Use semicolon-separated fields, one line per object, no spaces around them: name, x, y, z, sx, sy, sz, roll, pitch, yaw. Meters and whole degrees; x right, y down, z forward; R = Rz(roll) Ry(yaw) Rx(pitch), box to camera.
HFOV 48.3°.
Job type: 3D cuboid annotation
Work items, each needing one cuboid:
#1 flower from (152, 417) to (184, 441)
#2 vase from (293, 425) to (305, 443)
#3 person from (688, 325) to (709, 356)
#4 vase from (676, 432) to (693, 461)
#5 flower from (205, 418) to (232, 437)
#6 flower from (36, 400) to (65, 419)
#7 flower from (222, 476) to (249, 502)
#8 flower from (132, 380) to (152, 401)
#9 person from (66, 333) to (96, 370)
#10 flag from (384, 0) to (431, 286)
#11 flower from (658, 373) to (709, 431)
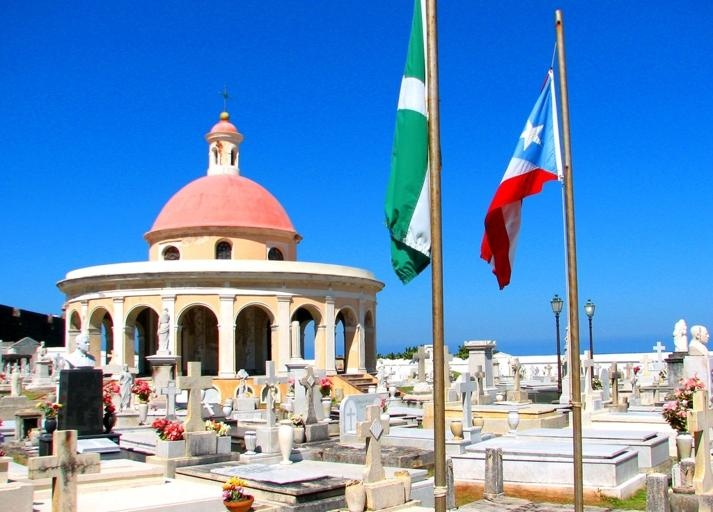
flower;-4.411;4.093;18.689;0.518;0.544;0.313;14;-51;-15
vase;-1.546;4.864;21.911;0.385;0.441;0.255;2;-10;-25
person;10.347;2.558;24.067;0.530;0.885;0.549;-5;-9;19
vase;7.534;4.344;18.220;0.313;0.539;1.168;-5;-9;19
flower;-3.417;4.199;19.483;0.416;0.355;0.688;-8;-11;33
flower;-7.617;3.765;19.721;0.674;0.497;0.699;-1;-6;14
flower;-2.333;4.395;15.148;0.441;0.471;0.438;-1;-4;44
flower;-6.524;4.067;24.281;0.666;0.707;0.655;3;-9;-35
person;-6.979;2.381;20.208;0.640;0.907;0.883;-1;-9;-6
flag;0.898;-1.797;12.706;0.913;4.399;0.475;-8;-11;36
flower;7.815;3.551;19.060;0.673;1.303;1.285;-2;-9;0
